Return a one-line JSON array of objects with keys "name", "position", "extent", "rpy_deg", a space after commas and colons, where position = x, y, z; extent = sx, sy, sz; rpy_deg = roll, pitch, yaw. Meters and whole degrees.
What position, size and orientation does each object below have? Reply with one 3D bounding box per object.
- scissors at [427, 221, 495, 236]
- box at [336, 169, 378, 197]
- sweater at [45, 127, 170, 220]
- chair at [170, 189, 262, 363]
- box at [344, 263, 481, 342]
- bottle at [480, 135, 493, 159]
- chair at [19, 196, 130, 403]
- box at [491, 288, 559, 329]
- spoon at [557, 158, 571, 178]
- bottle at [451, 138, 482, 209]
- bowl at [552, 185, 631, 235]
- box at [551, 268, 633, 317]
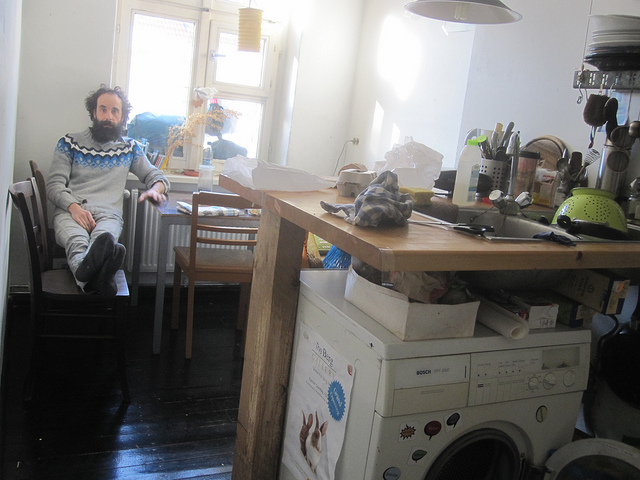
[{"name": "scissors", "position": [0.410, -0.039, 1.368], "extent": [0.209, 0.019, 0.083], "rpy_deg": [3, 12, 41]}, {"name": "box", "position": [0.147, -0.189, 1.602], "extent": [0.150, 0.089, 0.152], "rpy_deg": [-2, 14, -18]}, {"name": "sweater", "position": [-1.467, -0.417, 3.242], "extent": [0.773, 0.721, 0.374], "rpy_deg": [5, 9, -33]}, {"name": "chair", "position": [-0.740, 0.131, 3.214], "extent": [0.634, 1.047, 1.012], "rpy_deg": [0, 14, -9]}, {"name": "box", "position": [0.235, 0.191, 1.356], "extent": [0.232, 0.082, 0.223], "rpy_deg": [5, 20, -38]}, {"name": "bottle", "position": [0.744, -0.405, 2.065], "extent": [0.032, 0.127, 0.037], "rpy_deg": [-9, -5, 10]}, {"name": "chair", "position": [-1.405, 0.353, 2.640], "extent": [0.658, 1.111, 0.639], "rpy_deg": [1, 31, -17]}, {"name": "box", "position": [0.678, 0.184, 1.499], "extent": [0.125, 0.087, 0.175], "rpy_deg": [-1, 14, -19]}, {"name": "spoon", "position": [1.171, -0.345, 2.221], "extent": [0.051, 0.084, 0.063], "rpy_deg": [6, 14, 16]}, {"name": "bottle", "position": [0.599, -0.262, 1.856], "extent": [0.186, 0.267, 0.096], "rpy_deg": [-6, 16, -31]}, {"name": "bowl", "position": [1.030, -0.108, 1.731], "extent": [0.173, 0.174, 0.175], "rpy_deg": [19, 2, -1]}, {"name": "box", "position": [0.877, 0.171, 1.512], "extent": [0.054, 0.069, 0.193], "rpy_deg": [11, 9, -16]}]
